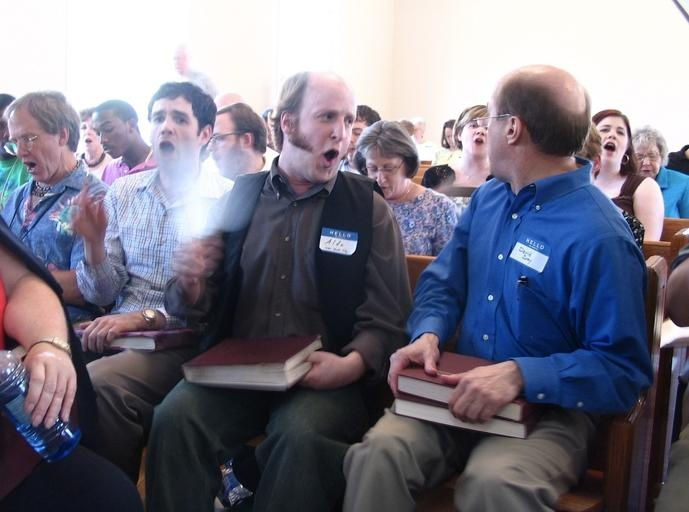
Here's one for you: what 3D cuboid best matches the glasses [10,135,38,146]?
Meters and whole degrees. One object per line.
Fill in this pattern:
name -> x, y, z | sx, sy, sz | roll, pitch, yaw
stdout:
glasses -> -1.768, -0.635, 2.758 | 0.085, 0.026, 0.084 | -4, 3, 14

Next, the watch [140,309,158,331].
watch -> -0.846, 0.278, 2.175 | 0.050, 0.086, 0.078 | -2, 3, -16
